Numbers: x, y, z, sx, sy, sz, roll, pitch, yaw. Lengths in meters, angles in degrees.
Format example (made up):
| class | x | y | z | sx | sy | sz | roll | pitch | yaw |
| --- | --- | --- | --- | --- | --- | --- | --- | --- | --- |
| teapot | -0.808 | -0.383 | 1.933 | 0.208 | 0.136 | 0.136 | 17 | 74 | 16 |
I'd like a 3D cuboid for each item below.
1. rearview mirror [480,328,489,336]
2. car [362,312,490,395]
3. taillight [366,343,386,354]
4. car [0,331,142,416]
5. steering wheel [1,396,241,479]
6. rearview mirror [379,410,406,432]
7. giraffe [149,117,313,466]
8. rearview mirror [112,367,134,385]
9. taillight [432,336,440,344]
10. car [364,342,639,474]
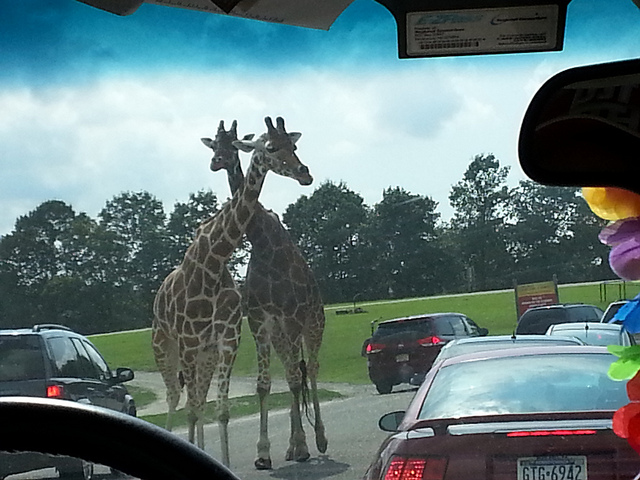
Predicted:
| class | x | y | z | sx | sy | sz | roll | pitch | yaw |
| --- | --- | --- | --- | --- | --- | --- | --- | --- | --- |
| rearview mirror | 2.745 | 1.547 | 17.103 | 0.111 | 0.144 | 0.156 | -9 | -25 | 25 |
| car | 1.658 | 1.715 | 15.875 | 0.985 | 0.774 | 2.006 | -3 | -1 | 25 |
| taillight | 0.824 | 1.609 | 15.159 | 0.210 | 0.162 | 0.080 | 3 | 8 | 11 |
| car | -2.735 | 1.493 | 11.718 | 1.124 | 0.960 | 2.035 | -1 | -5 | 11 |
| steering wheel | -1.207 | 1.105 | 5.721 | 0.706 | 0.124 | 0.610 | -9 | -34 | 44 |
| rearview mirror | 0.615 | 1.524 | 8.549 | 0.169 | 0.121 | 0.264 | -2 | -3 | -38 |
| giraffe | -1.244 | 0.765 | 12.874 | 1.278 | 4.274 | 3.683 | -2 | -3 | -28 |
| rearview mirror | -2.445 | 1.684 | 12.685 | 0.228 | 0.199 | 0.487 | -3 | -3 | -7 |
| taillight | 1.674 | 1.455 | 14.921 | 0.082 | 0.085 | 0.020 | -4 | -11 | 0 |
| car | 1.430 | 1.326 | 7.775 | 1.834 | 0.704 | 1.023 | -4 | -3 | -2 |
